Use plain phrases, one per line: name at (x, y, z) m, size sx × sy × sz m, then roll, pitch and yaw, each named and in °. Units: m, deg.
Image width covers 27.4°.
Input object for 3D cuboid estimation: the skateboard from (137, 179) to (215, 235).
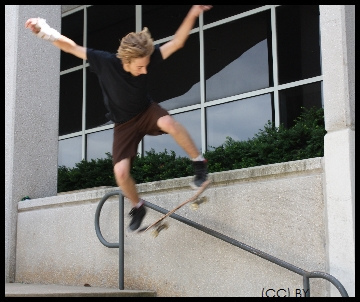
skateboard at (-0.015, 0.701, 9.037) m, size 0.973 × 0.137 × 0.253 m, roll -37°, pitch -8°, yaw 4°
